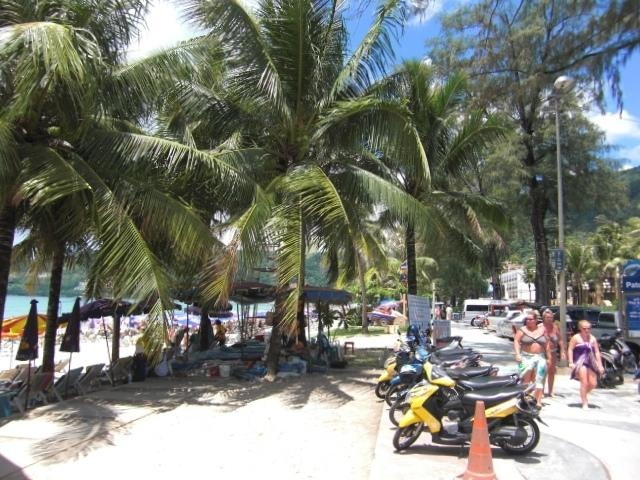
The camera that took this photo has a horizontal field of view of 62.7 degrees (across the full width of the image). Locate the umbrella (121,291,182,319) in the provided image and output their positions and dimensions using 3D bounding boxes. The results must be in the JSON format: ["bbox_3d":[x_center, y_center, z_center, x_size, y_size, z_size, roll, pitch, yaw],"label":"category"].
[{"bbox_3d":[-4.281,1.600,13.344,1.179,0.631,1.230,0,0,9],"label":"umbrella"}]

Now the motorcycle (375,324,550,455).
[{"bbox_3d":[2.525,2.996,9.579,2.496,1.803,1.261,-1,-7,13],"label":"motorcycle"}]

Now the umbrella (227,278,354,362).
[{"bbox_3d":[-1.288,2.686,18.140,4.914,2.308,4.028,-9,-15,43],"label":"umbrella"}]

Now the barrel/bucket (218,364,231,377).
[{"bbox_3d":[-2.832,3.899,15.699,0.341,0.355,0.403,2,-11,-4],"label":"barrel/bucket"}]

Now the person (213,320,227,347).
[{"bbox_3d":[-4.236,3.903,22.337,0.421,1.151,2.286,3,-11,-11],"label":"person"}]

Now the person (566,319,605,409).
[{"bbox_3d":[5.736,2.674,11.397,0.634,1.898,0.469,-3,-10,23],"label":"person"}]
